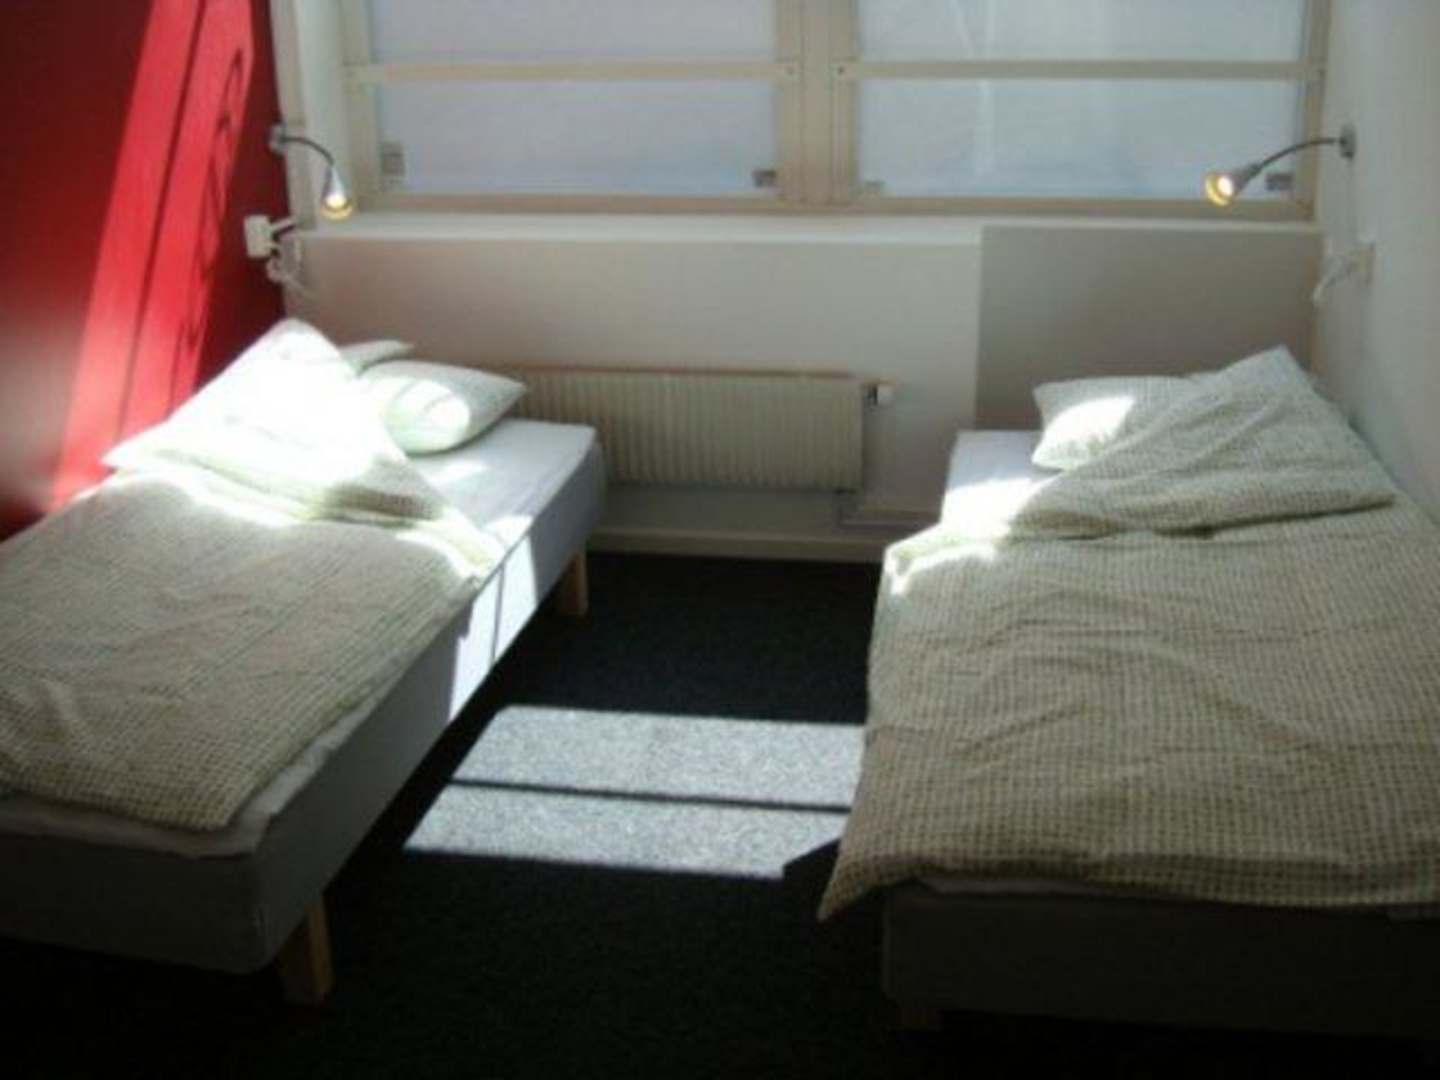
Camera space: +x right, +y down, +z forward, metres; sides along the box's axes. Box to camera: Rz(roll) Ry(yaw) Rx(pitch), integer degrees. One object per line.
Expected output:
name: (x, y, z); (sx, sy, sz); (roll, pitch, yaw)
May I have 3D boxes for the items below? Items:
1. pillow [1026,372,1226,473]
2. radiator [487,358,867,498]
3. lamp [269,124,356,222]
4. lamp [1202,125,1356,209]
pillow: (1.106, -0.353, 3.181); (0.468, 0.102, 0.295); (-14, 37, 14)
radiator: (-0.044, -0.352, 3.769); (0.998, 0.370, 0.097); (0, -12, -14)
lamp: (-1.238, -1.123, 3.510); (0.270, 0.256, 0.106); (6, 2, 13)
lamp: (1.695, -1.125, 3.486); (0.454, 0.167, 0.180); (-24, 33, -5)
